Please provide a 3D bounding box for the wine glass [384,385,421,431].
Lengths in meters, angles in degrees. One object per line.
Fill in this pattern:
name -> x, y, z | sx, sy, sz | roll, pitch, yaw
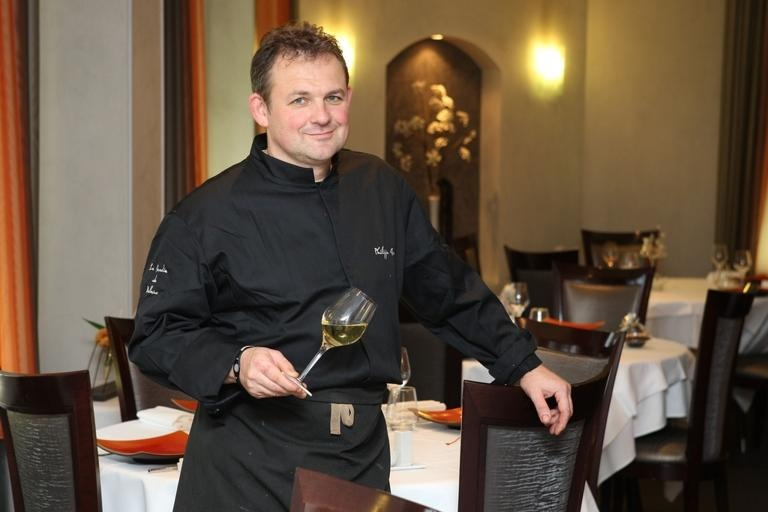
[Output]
wine glass -> 0.068, 0.530, 2.383 | 0.145, 0.155, 0.154 | -6, -13, 15

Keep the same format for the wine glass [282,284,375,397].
wine glass -> -0.127, 0.223, 1.886 | 0.207, 0.275, 0.297 | 0, 4, -1

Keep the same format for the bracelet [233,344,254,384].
bracelet -> -0.376, 0.290, 1.863 | 0.045, 0.095, 0.035 | -4, 6, -38

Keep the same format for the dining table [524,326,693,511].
dining table -> 1.234, 0.754, 3.516 | 0.748, 0.438, 0.745 | -1, 13, -10
